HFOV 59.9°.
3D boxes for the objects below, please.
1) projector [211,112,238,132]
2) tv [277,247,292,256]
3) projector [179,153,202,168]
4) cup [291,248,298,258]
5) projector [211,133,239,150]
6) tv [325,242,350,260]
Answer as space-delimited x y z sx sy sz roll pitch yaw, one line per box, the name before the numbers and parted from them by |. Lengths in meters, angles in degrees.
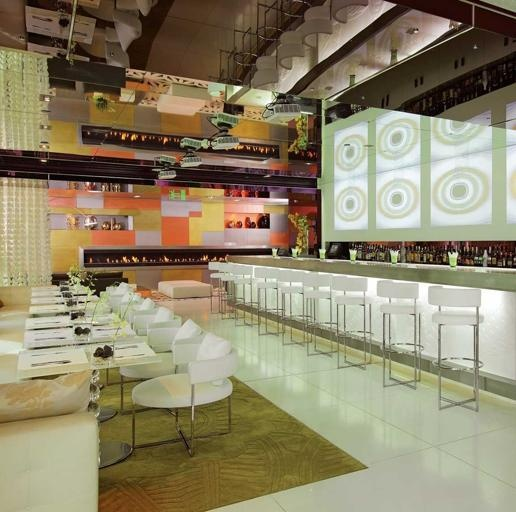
projector | -0.349 -1.476 4.903 0.311 0.106 0.307 -2 4 -40
tv | 0.672 -0.112 11.687 0.244 0.240 0.483 7 6 11
projector | -1.155 -1.590 7.471 0.274 0.118 0.357 -3 4 -30
cup | 0.699 -0.052 8.787 0.172 0.153 0.164 -1 -2 0
projector | -0.464 -1.544 5.985 0.396 0.154 0.298 -1 2 5
tv | 1.590 -0.118 9.263 0.421 0.381 0.393 0 3 41
